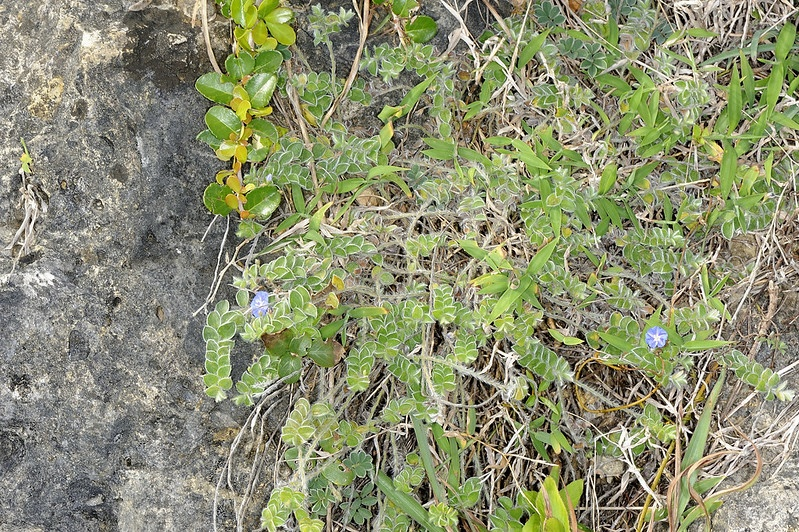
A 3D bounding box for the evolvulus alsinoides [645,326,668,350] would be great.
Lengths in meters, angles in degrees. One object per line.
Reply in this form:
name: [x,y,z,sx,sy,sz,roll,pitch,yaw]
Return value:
evolvulus alsinoides: [0.977,0.269,3.224,0.078,0.056,0.074,-3,65,16]
